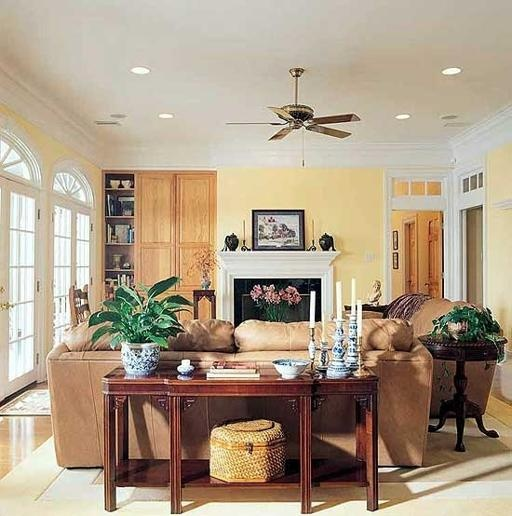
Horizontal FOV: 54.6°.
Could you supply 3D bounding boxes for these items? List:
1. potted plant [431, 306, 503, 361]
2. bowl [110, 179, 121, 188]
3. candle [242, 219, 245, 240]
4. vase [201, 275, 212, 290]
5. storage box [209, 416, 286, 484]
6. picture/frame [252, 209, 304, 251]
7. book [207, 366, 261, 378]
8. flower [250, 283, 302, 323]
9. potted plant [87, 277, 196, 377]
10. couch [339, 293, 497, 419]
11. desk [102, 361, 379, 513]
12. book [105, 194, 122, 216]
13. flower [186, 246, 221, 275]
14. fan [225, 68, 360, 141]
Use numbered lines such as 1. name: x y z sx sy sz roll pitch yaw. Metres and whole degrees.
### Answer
1. potted plant: 1.359 0.444 3.198 0.436 0.204 0.397 3 -4 2
2. bowl: -2.049 -1.087 7.201 0.126 0.081 0.115 0 0 0
3. candle: -0.169 -0.394 7.054 0.050 0.280 0.014 0 -1 -7
4. vase: -0.691 0.337 6.909 0.195 0.195 0.182 1 -7 -3
5. storage box: -0.042 0.892 2.364 0.303 0.159 0.277 0 -5 1
6. picture/frame: 0.313 -0.383 7.021 0.699 0.485 0.050 0 -7 -1
7. book: -0.109 0.530 2.335 0.238 0.042 0.136 0 -1 -3
8. flower: 0.219 0.511 5.742 0.727 0.608 0.594 0 -6 -5
9. potted plant: -0.598 0.367 2.482 0.539 0.402 0.459 -5 -16 12
10. couch: 1.040 0.631 3.082 0.467 0.412 1.170 0 -3 6
11. desk: -0.062 0.864 2.415 1.301 0.659 0.396 0 -1 0
12. book: -2.103 -0.772 7.253 0.214 0.320 0.368 1 1 6
13. flower: -0.762 0.034 7.201 0.495 0.379 0.105 3 -1 4
14. fan: 0.379 -1.315 4.188 1.058 0.403 1.052 -6 10 -39
